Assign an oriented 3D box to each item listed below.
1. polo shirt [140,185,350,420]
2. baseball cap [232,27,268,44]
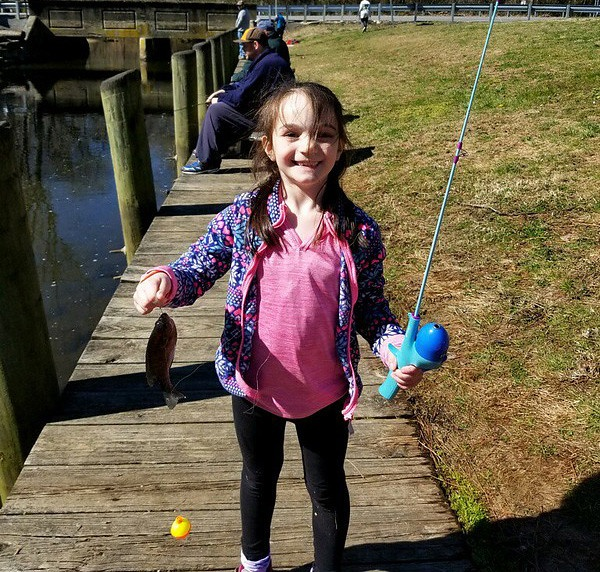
[{"bbox_3d":[-0.203,0.073,2.175,0.608,0.699,0.215,-5,-9,6],"label":"polo shirt"},{"bbox_3d":[-0.522,-2.532,6.740,0.299,0.155,0.192,6,34,5],"label":"baseball cap"}]
